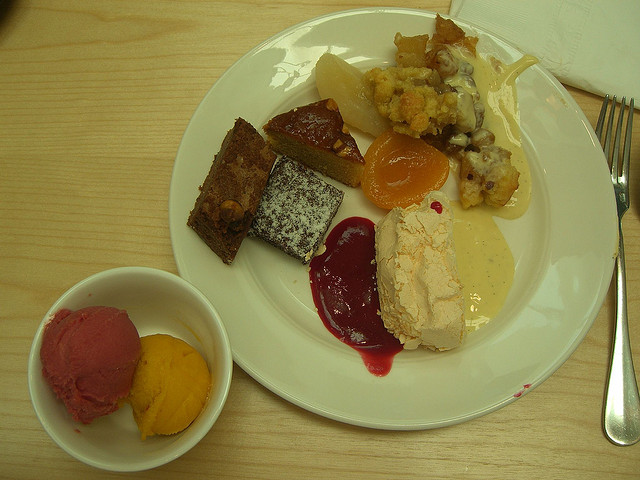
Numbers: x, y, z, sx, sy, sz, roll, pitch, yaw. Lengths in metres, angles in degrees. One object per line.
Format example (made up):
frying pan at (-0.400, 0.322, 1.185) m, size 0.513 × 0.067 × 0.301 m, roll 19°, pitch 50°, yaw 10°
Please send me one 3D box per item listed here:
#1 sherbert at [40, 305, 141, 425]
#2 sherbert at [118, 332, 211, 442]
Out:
sherbert at (-1.159, 0.596, 3.079) m, size 0.506 × 0.159 × 0.547 m, roll -36°, pitch 101°, yaw -22°
sherbert at (-0.787, 0.755, 3.158) m, size 0.480 × 0.144 × 0.475 m, roll -37°, pitch 83°, yaw -2°
